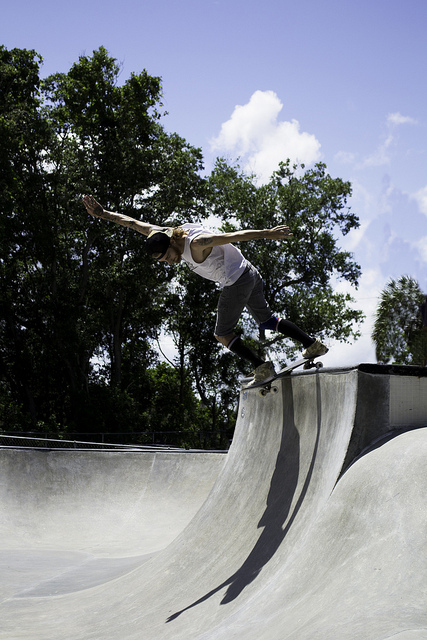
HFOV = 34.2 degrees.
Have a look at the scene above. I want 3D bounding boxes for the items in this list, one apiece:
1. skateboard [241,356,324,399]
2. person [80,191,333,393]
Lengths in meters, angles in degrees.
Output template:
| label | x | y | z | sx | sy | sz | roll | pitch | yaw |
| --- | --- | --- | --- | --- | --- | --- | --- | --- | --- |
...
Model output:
| label | x | y | z | sx | sy | sz | roll | pitch | yaw |
| --- | --- | --- | --- | --- | --- | --- | --- | --- | --- |
| skateboard | 0.619 | 0.502 | 5.820 | 0.299 | 0.255 | 0.817 | -12 | 5 | -43 |
| person | -0.102 | -0.371 | 5.970 | 1.584 | 2.041 | 0.882 | -21 | 5 | 25 |
